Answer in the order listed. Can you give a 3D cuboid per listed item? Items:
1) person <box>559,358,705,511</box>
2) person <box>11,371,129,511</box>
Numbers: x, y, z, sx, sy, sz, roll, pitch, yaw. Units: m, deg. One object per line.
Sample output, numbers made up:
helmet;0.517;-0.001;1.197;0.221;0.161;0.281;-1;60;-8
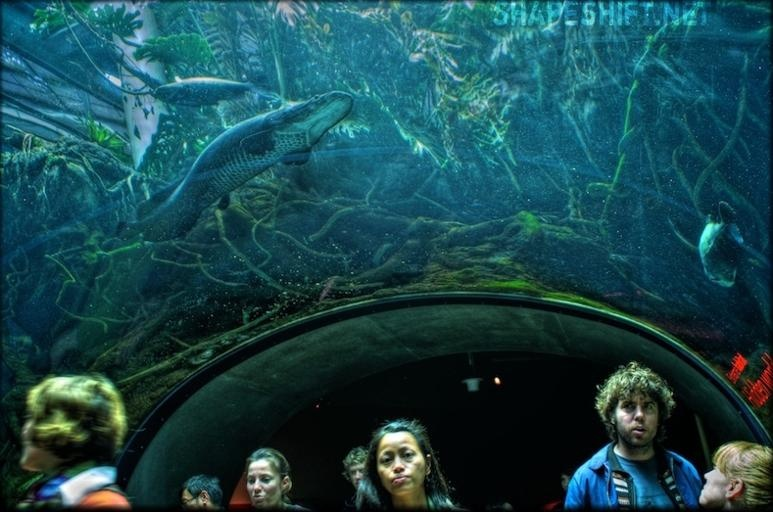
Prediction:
person;3.284;2.479;8.942;1.597;1.945;0.531;-11;-17;10
person;-3.786;2.290;7.952;1.315;1.639;0.373;-10;-17;6
